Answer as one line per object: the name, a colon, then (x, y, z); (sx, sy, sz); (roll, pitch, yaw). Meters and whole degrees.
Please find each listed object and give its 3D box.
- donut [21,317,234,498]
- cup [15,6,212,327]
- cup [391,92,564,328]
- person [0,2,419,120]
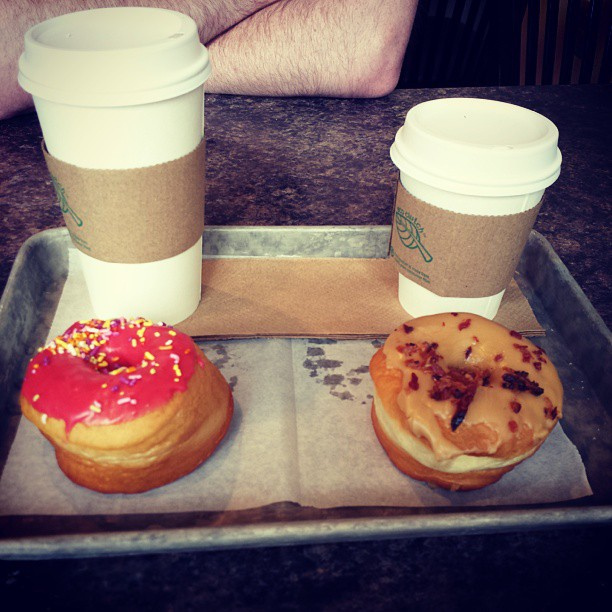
donut: (-0.274, 0.134, 1.044); (0.301, 0.149, 0.284); (20, 40, 25)
cup: (-0.301, -0.222, 1.164); (0.290, 0.522, 0.296); (1, 47, -2)
cup: (0.286, -0.176, 1.244); (0.282, 0.397, 0.261); (2, 47, -2)
person: (-0.298, -0.798, 2.338); (1.309, 0.151, 0.633); (1, 40, -2)
